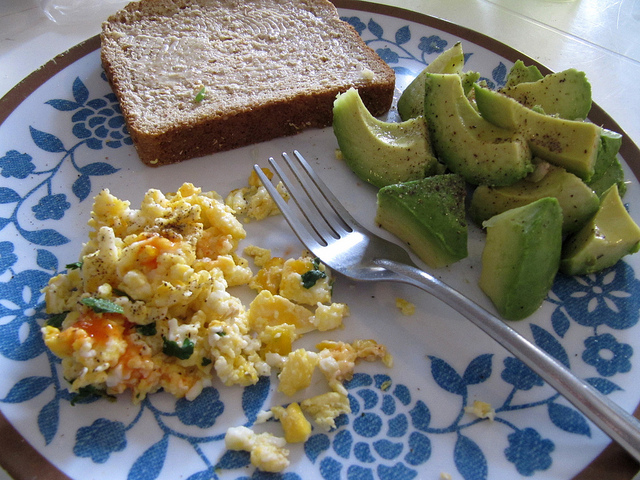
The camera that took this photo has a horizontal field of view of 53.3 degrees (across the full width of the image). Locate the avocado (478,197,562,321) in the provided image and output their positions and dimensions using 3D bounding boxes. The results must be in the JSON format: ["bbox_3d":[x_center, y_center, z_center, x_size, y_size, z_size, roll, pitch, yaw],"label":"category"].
[{"bbox_3d":[0.770,0.039,2.504,0.343,0.422,0.308,7,26,23],"label":"avocado"}]
